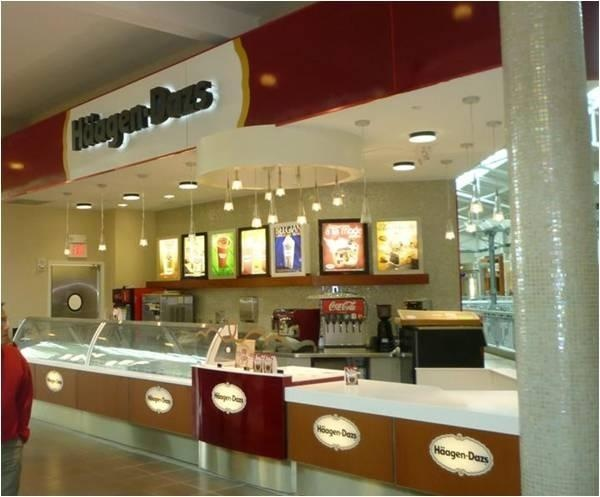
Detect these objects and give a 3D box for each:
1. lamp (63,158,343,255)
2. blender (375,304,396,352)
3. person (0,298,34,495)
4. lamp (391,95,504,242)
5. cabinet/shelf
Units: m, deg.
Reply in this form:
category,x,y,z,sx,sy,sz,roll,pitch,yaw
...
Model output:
category,x,y,z,sx,sy,sz,roll,pitch,yaw
lamp,-2.420,-0.705,8.630,4.279,0.835,2.480,-6,-4,42
blender,1.219,1.127,7.171,0.246,0.631,0.334,-4,-4,9
person,-1.993,1.077,3.528,0.187,1.296,0.389,-1,-4,-28
lamp,1.916,-0.986,6.194,1.238,0.693,1.943,-2,-3,32
cabinet/shelf,-2.260,1.443,6.045,3.601,1.185,0.320,-6,-4,36
